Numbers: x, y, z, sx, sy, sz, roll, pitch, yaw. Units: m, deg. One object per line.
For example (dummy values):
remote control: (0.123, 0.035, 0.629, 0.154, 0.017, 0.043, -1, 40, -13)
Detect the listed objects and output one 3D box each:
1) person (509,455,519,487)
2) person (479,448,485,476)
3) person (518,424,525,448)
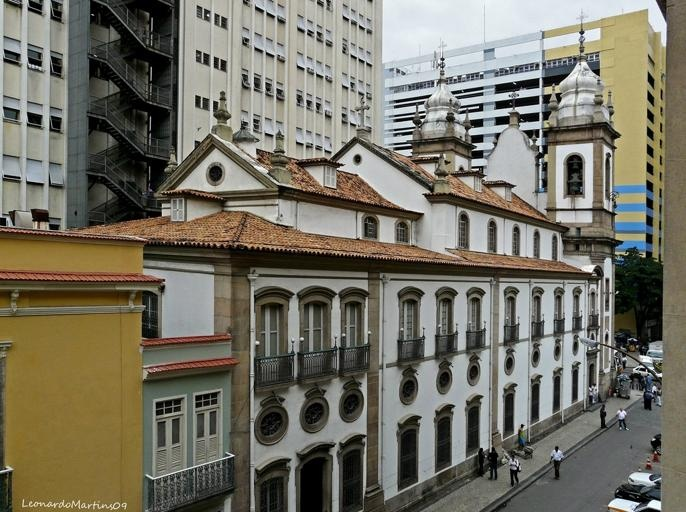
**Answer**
person: (10.635, 13.316, 70.826, 0.576, 1.363, 1.317, -3, -2, 9)
person: (8.708, 12.930, 72.126, 0.358, 1.244, 1.034, -3, -2, 10)
person: (11.917, 11.937, 76.152, 0.518, 1.146, 1.631, -3, -2, 8)
